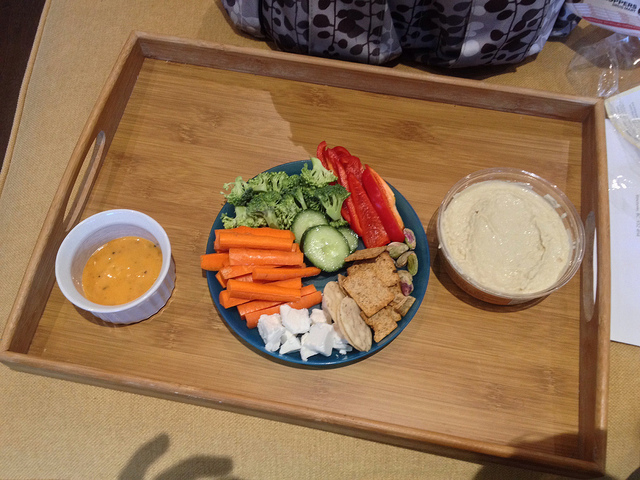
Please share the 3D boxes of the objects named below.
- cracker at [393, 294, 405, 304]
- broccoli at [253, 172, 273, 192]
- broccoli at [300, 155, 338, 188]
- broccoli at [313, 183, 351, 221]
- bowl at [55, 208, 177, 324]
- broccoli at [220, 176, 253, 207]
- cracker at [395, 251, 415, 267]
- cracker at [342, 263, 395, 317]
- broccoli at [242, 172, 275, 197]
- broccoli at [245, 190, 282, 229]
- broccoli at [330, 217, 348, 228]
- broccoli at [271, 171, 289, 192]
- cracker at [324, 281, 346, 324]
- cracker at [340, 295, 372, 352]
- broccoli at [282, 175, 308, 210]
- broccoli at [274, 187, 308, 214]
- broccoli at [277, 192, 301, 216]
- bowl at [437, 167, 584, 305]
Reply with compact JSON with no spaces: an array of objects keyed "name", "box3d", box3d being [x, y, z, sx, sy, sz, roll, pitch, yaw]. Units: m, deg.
[{"name":"cracker","box3d":[0.440,0.313,2.703,0.043,0.012,0.047,7,66,3]},{"name":"broccoli","box3d":[-0.330,-0.334,2.847,0.105,0.034,0.103,5,79,-8]},{"name":"broccoli","box3d":[-0.005,-0.386,2.849,0.177,0.060,0.194,-3,71,-8]},{"name":"broccoli","box3d":[0.068,-0.253,2.933,0.251,0.226,0.224,0,101,-32]},{"name":"bowl","box3d":[-1.159,0.136,2.754,0.666,0.277,0.659,2,74,-6]},{"name":"broccoli","box3d":[-0.478,-0.275,2.871,0.162,0.073,0.172,5,85,19]},{"name":"cracker","box3d":[0.500,0.109,2.826,0.105,0.035,0.064,-47,59,1]},{"name":"cracker","box3d":[0.249,0.258,2.651,0.221,0.070,0.296,-39,71,-4]},{"name":"broccoli","box3d":[-0.366,-0.328,2.845,0.149,0.059,0.152,-20,72,-11]},{"name":"broccoli","box3d":[-0.312,-0.204,2.916,0.198,0.177,0.181,44,37,-28]},{"name":"broccoli","box3d":[0.119,-0.107,2.950,0.064,0.029,0.063,-32,71,-29]},{"name":"broccoli","box3d":[-0.238,-0.342,2.872,0.063,0.092,0.062,-19,61,-3]},{"name":"cracker","box3d":[0.069,0.320,2.729,0.164,0.024,0.302,0,51,-14]},{"name":"cracker","box3d":[0.189,0.439,2.623,0.191,0.029,0.263,-13,78,-50]},{"name":"broccoli","box3d":[-0.142,-0.286,2.905,0.105,0.087,0.169,-30,99,-20]},{"name":"broccoli","box3d":[-0.163,-0.232,2.900,0.163,0.070,0.162,9,64,6]},{"name":"broccoli","box3d":[-0.179,-0.216,2.897,0.128,0.052,0.100,45,64,-24]},{"name":"bowl","box3d":[1.088,0.005,2.764,0.801,0.287,0.797,1,70,-3]}]
